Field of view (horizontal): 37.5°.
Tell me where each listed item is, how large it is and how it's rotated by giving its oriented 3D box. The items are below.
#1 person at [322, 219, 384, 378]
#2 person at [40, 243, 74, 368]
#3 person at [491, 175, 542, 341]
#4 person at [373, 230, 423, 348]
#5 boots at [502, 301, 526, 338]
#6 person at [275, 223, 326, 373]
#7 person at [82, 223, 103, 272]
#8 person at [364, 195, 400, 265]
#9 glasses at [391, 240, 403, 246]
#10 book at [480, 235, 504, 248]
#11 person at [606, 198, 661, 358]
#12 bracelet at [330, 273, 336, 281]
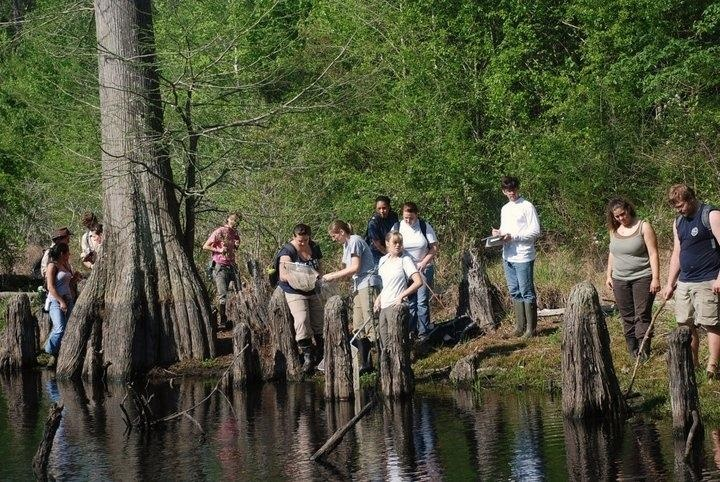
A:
[{"bbox_3d":[-0.063,0.959,18.336,0.817,2.679,1.477,-5,-7,5],"label":"person"},{"bbox_3d":[-5.637,1.107,19.843,0.571,1.982,1.056,-3,-8,-16],"label":"person"},{"bbox_3d":[2.809,0.291,18.643,0.706,2.781,0.890,-5,-7,1],"label":"person"},{"bbox_3d":[0.575,0.802,17.502,1.045,1.908,0.504,-11,-10,41],"label":"person"},{"bbox_3d":[2.735,1.397,18.980,0.421,0.627,0.233,3,-9,-13],"label":"boots"},{"bbox_3d":[-1.006,1.020,18.694,0.756,2.494,1.281,-5,-7,5],"label":"person"},{"bbox_3d":[-5.252,0.119,20.701,0.416,0.963,1.360,-3,-8,-15],"label":"person"},{"bbox_3d":[0.450,0.088,19.333,0.695,1.753,0.478,-8,20,-21],"label":"person"},{"bbox_3d":[0.618,0.027,17.500,0.124,0.093,0.139,1,11,-1],"label":"glasses"},{"bbox_3d":[2.367,0.003,18.692,0.302,0.211,0.734,-6,-8,5],"label":"book"},{"bbox_3d":[4.383,0.595,17.099,0.654,2.491,0.910,-4,-7,-5],"label":"person"},{"bbox_3d":[-0.468,0.614,17.864,0.126,0.123,0.041,3,-5,-35],"label":"bracelet"}]
